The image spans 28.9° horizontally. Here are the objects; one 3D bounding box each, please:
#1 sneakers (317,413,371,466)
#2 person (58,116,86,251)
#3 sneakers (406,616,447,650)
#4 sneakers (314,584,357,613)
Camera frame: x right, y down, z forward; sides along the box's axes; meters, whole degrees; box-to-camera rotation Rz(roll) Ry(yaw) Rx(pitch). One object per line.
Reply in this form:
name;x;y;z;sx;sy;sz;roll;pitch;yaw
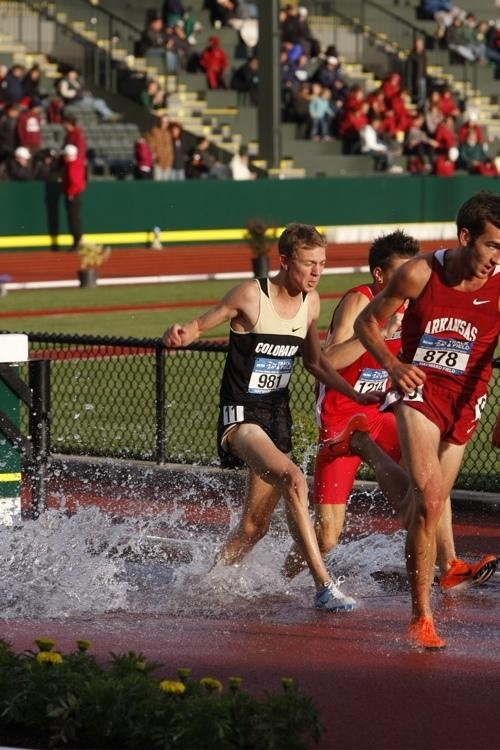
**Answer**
sneakers;0.440;0.312;4.612;0.143;0.347;0.117;-1;55;-19
person;-4.342;-4.490;23.428;0.813;3.740;1.544;2;42;-8
sneakers;0.731;1.040;3.883;0.146;0.138;0.100;25;10;41
sneakers;0.388;1.024;4.431;0.199;0.127;0.108;-2;6;7
